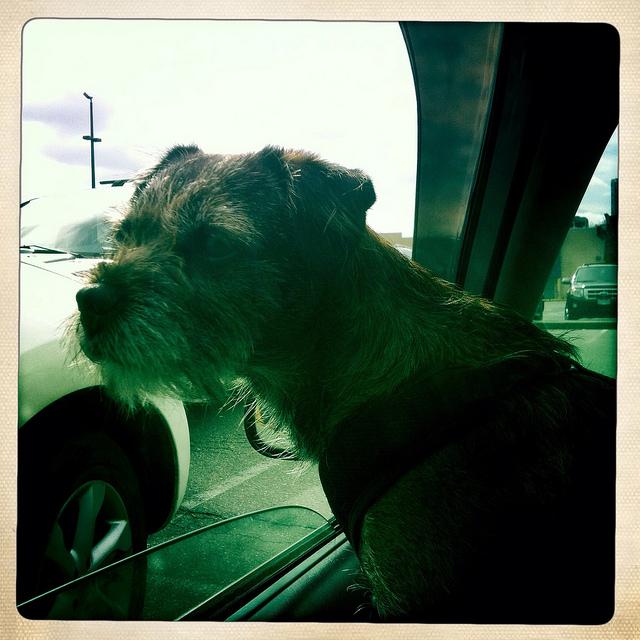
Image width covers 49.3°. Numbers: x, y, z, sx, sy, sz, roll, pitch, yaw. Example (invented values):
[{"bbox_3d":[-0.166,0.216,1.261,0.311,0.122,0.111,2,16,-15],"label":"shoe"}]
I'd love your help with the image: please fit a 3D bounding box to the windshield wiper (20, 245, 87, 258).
[{"bbox_3d":[-0.765,-0.194,1.998,0.216,0.032,0.024,4,2,23],"label":"windshield wiper"}]
